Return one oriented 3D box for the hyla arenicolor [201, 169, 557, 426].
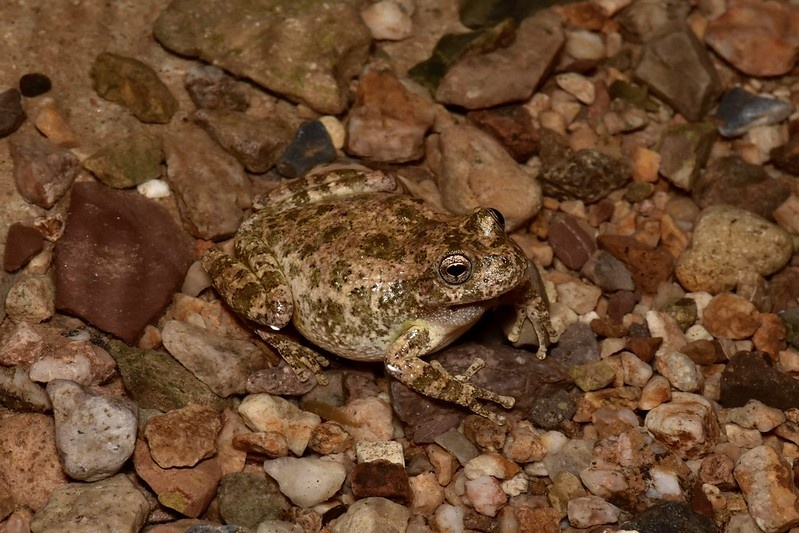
[{"bbox_3d":[-0.178,0.364,7.598,2.545,1.068,1.849,17,62,10],"label":"hyla arenicolor"}]
